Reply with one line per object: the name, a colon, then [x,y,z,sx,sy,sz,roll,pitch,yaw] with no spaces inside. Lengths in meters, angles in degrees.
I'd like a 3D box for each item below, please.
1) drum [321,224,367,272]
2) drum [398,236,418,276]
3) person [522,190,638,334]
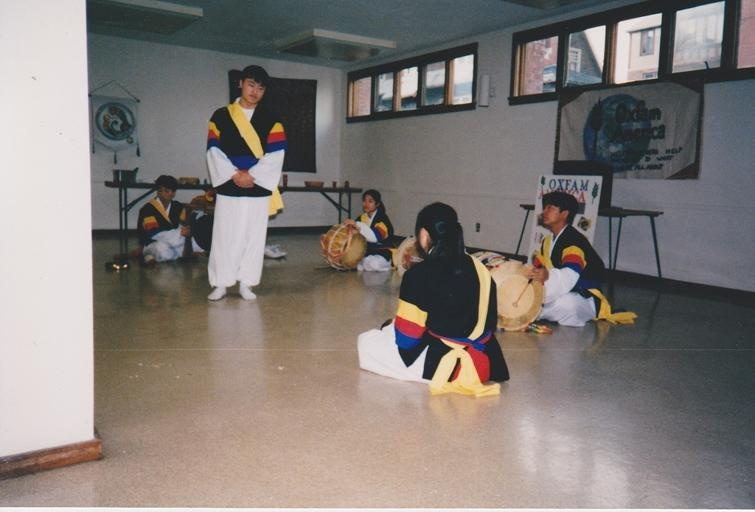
drum: [-0.332,-0.060,6.497,0.483,0.427,0.354,-12,39,37]
drum: [0.299,-0.011,6.164,0.109,0.317,0.300,12,0,-12]
person: [1.532,0.022,4.785,0.780,1.017,0.399,-2,11,-20]
